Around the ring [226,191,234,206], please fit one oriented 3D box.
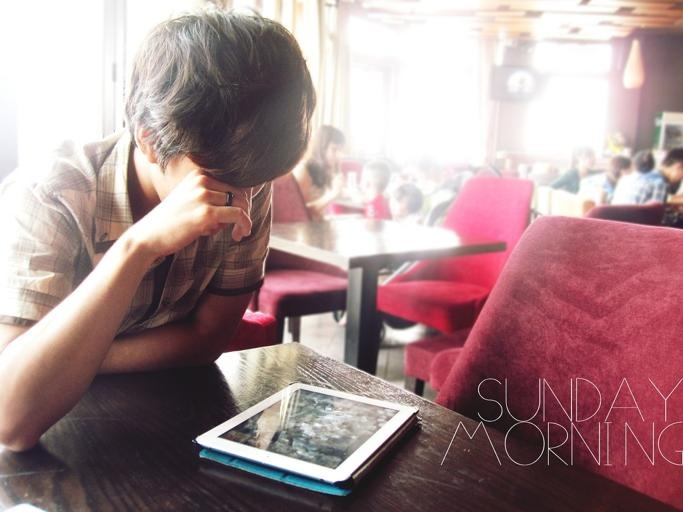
[{"bbox_3d":[-0.187,-0.094,0.873,0.013,0.019,0.020,4,-7,-8],"label":"ring"}]
